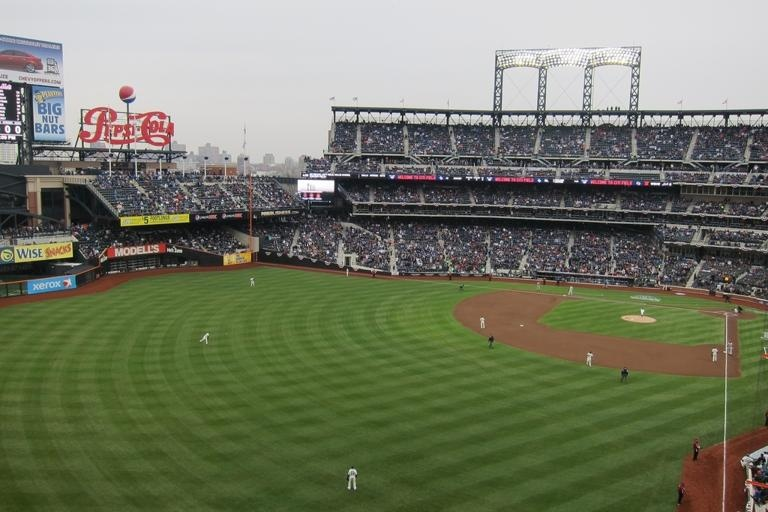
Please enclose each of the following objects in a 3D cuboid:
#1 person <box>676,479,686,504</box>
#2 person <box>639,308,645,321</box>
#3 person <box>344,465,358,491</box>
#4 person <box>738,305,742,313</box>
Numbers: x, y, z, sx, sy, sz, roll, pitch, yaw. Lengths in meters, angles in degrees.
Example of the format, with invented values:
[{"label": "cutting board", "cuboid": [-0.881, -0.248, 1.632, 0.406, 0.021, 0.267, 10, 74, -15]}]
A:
[{"label": "person", "cuboid": [20.716, 16.618, 58.253, 0.576, 1.210, 1.114, 8, 14, 20]}, {"label": "person", "cuboid": [26.860, 5.985, 86.917, 0.557, 0.510, 1.565, 6, 32, 15]}, {"label": "person", "cuboid": [-2.237, 15.525, 58.575, 0.814, 1.479, 1.510, 2, 13, -5]}, {"label": "person", "cuboid": [38.272, 5.832, 89.668, 0.432, 0.533, 1.353, -1, 7, 18]}]
